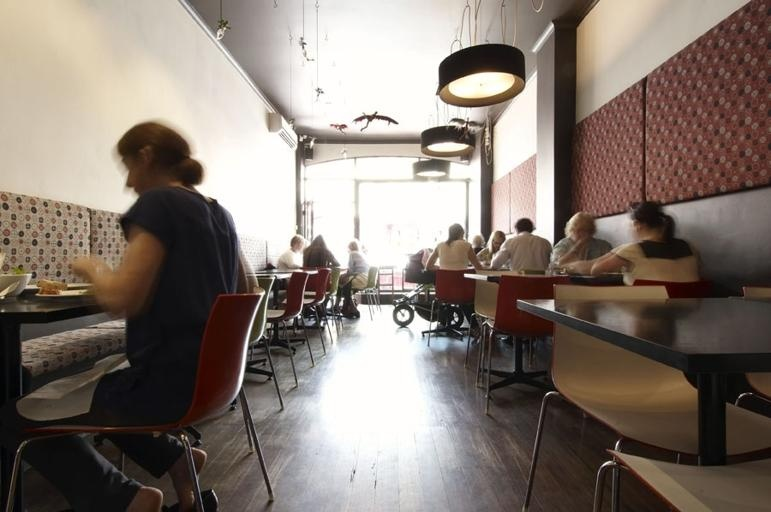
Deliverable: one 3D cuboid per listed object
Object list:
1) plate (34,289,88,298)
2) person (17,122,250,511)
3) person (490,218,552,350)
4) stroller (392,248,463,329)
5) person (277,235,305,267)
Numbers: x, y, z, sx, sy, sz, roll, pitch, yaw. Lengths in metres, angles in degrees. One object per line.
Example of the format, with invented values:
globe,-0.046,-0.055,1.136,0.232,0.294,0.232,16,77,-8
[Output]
plate,-1.859,0.215,3.127,0.221,0.034,0.157,0,-1,-3
person,-1.309,0.393,2.960,0.919,2.203,0.634,0,10,0
person,1.579,0.173,6.228,0.654,1.179,0.371,0,-2,-2
stroller,0.486,0.498,7.800,1.191,1.411,0.746,2,-5,1
person,-1.405,-0.049,8.044,0.367,0.472,0.753,-2,10,-10
